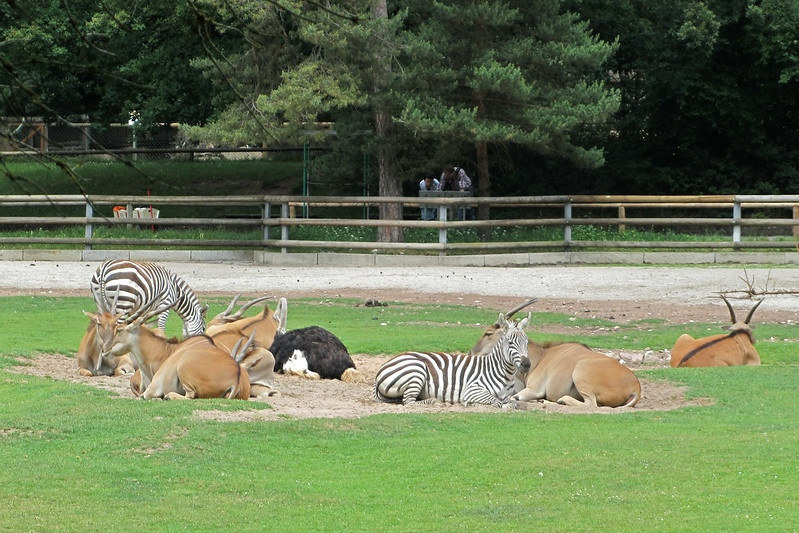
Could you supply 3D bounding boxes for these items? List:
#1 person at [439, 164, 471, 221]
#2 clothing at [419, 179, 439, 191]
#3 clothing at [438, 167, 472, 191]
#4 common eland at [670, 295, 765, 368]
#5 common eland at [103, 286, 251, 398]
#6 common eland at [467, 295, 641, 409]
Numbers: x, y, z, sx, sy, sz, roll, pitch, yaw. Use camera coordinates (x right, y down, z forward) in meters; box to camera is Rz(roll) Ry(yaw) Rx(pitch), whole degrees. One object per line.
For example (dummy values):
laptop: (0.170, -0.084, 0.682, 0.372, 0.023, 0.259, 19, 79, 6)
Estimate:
person: (1.838, -2.413, 57.408, 1.024, 1.758, 2.947, 0, 2, 1)
clothing: (0.978, -2.647, 57.844, 0.638, 0.403, 0.620, 1, 0, 7)
clothing: (1.809, -2.810, 57.556, 0.813, 0.936, 0.325, 1, -15, 7)
common eland: (7.144, 1.777, 39.760, 1.971, 0.945, 1.037, 0, 2, 9)
common eland: (-4.685, 1.971, 38.386, 3.030, 1.899, 1.548, 6, -3, 10)
common eland: (3.844, 2.325, 38.371, 2.724, 1.350, 0.730, 1, 2, 24)
